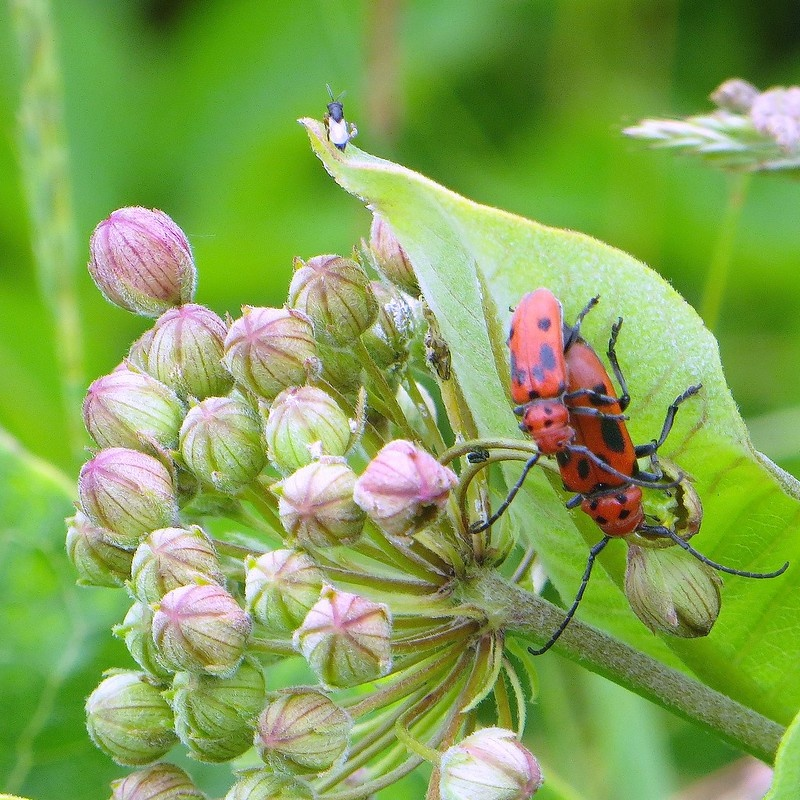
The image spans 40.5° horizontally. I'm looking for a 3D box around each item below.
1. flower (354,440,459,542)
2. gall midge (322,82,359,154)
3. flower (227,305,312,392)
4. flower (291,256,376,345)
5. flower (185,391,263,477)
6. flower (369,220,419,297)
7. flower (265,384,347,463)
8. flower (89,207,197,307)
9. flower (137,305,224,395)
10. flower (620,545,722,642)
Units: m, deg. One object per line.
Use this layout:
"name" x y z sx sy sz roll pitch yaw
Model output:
"flower" 0.012 0.231 2.969 0.252 0.236 0.212 -23 -17 -44
"gall midge" -0.194 -0.885 3.311 0.069 0.084 0.199 -8 27 6
"flower" -0.377 -0.147 3.369 0.201 0.258 0.265 -17 -3 19
"flower" -0.230 -0.308 3.502 0.209 0.310 0.275 -19 20 9
"flower" -0.543 0.056 3.319 0.236 0.333 0.245 -7 2 -14
"flower" -0.029 -0.492 3.671 0.075 0.261 0.181 -17 3 -16
"flower" -0.278 0.090 3.174 0.184 0.247 0.202 -18 1 -43
"flower" -0.850 -0.460 3.726 0.279 0.347 0.343 -6 -2 -42
"flower" -0.656 -0.145 3.466 0.226 0.339 0.259 3 18 9
"flower" 0.755 0.509 3.057 0.202 0.275 0.152 -36 -14 -12
